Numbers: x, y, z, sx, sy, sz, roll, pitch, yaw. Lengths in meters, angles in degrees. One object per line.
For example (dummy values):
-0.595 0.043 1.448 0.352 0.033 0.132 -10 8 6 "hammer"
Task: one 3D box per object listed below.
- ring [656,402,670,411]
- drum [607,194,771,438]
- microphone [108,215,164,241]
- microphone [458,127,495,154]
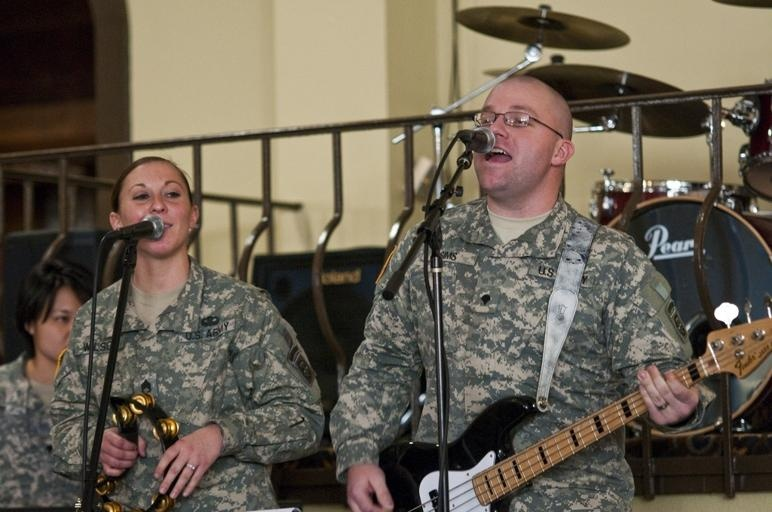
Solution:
1.205 0.659 6.113 0.052 0.032 0.013 -2 -9 3 "ring"
1.690 0.295 7.769 1.062 1.117 1.109 -5 -2 29 "drum"
-1.143 -0.124 6.400 0.089 0.092 0.292 -6 9 25 "microphone"
0.403 -0.527 6.241 0.066 0.103 0.138 -12 -8 42 "microphone"
